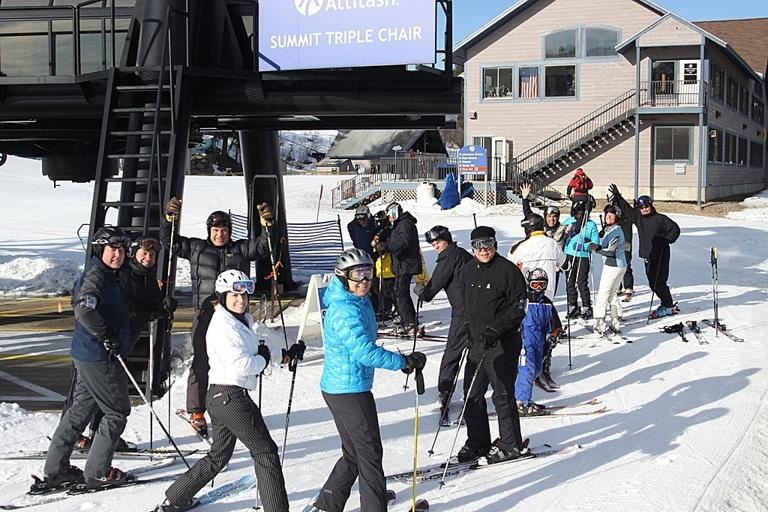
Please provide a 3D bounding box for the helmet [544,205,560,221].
[{"bbox_3d":[3.823,-1.012,15.430,0.279,0.331,0.335,2,-24,11],"label":"helmet"}]

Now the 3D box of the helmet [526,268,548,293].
[{"bbox_3d":[2.463,0.389,10.925,0.294,0.399,0.400,0,1,6],"label":"helmet"}]

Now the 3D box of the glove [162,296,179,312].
[{"bbox_3d":[-3.323,0.740,10.530,0.174,0.240,0.217,-4,5,-5],"label":"glove"}]

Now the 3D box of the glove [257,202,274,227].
[{"bbox_3d":[-2.008,-0.667,11.190,0.186,0.433,0.340,-8,16,23],"label":"glove"}]

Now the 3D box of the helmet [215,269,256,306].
[{"bbox_3d":[-1.880,0.359,8.393,0.472,0.415,0.395,1,5,44],"label":"helmet"}]

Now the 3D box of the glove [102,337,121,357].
[{"bbox_3d":[-3.533,1.160,8.796,0.175,0.264,0.123,-5,11,19],"label":"glove"}]

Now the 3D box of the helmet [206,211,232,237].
[{"bbox_3d":[-2.620,-0.490,10.771,0.356,0.440,0.407,0,10,-11],"label":"helmet"}]

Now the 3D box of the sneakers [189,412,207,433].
[{"bbox_3d":[-2.802,2.499,10.247,0.191,0.233,0.325,21,-12,-29],"label":"sneakers"}]

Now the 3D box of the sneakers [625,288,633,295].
[{"bbox_3d":[6.328,0.920,17.529,0.134,0.106,0.138,1,-3,-13],"label":"sneakers"}]

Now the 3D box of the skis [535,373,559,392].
[{"bbox_3d":[2.892,2.212,11.959,0.196,0.247,0.548,2,12,-41],"label":"skis"}]

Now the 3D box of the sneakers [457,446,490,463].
[{"bbox_3d":[1.318,2.787,9.706,0.542,0.245,0.185,2,1,-18],"label":"sneakers"}]

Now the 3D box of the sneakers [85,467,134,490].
[{"bbox_3d":[-3.601,2.929,8.920,0.614,0.271,0.233,-4,8,-25],"label":"sneakers"}]

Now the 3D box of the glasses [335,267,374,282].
[{"bbox_3d":[-0.366,0.214,8.162,0.437,0.171,0.136,-1,2,-4],"label":"glasses"}]

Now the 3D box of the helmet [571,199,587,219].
[{"bbox_3d":[4.458,-1.096,15.688,0.375,0.390,0.269,2,-4,-37],"label":"helmet"}]

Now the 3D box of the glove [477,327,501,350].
[{"bbox_3d":[1.473,1.126,9.359,0.245,0.341,0.325,0,2,11],"label":"glove"}]

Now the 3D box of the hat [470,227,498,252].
[{"bbox_3d":[1.392,-0.262,9.478,0.276,0.285,0.354,-6,-13,14],"label":"hat"}]

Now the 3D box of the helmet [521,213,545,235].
[{"bbox_3d":[2.758,-0.578,12.538,0.372,0.430,0.448,0,2,8],"label":"helmet"}]

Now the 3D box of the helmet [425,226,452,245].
[{"bbox_3d":[0.929,-0.341,11.449,0.292,0.298,0.379,-14,-33,25],"label":"helmet"}]

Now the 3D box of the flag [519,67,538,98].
[{"bbox_3d":[7.712,-9.169,36.121,1.020,1.623,0.181,0,2,10],"label":"flag"}]

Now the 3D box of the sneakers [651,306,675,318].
[{"bbox_3d":[6.430,1.281,15.574,0.632,0.285,0.239,-1,8,-5],"label":"sneakers"}]

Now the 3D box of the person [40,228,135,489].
[{"bbox_3d":[-3.855,1.320,8.876,0.993,3.406,0.564,-1,2,-23],"label":"person"}]

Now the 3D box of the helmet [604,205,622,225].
[{"bbox_3d":[4.987,-0.885,14.787,0.467,0.461,0.355,1,-1,-24],"label":"helmet"}]

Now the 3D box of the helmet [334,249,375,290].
[{"bbox_3d":[-0.420,0.169,8.323,0.475,0.595,0.539,-7,12,-38],"label":"helmet"}]
